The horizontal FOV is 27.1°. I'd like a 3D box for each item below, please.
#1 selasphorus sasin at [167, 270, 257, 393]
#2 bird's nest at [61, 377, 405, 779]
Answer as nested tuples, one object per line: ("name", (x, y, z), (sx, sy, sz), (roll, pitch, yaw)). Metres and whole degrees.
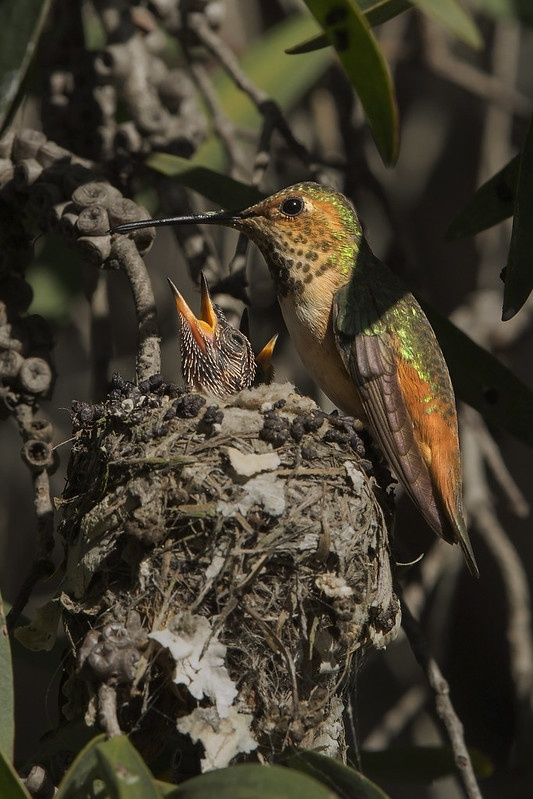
("selasphorus sasin", (-0.121, -0.116, 2.151), (0.101, 0.153, 0.242), (-46, 119, -33))
("bird's nest", (0.033, 0.320, 2.031), (0.635, 0.701, 0.668), (-3, 79, 8))
